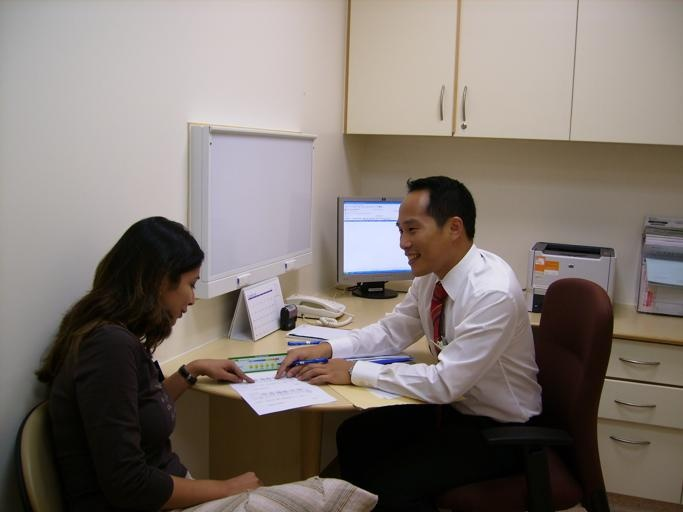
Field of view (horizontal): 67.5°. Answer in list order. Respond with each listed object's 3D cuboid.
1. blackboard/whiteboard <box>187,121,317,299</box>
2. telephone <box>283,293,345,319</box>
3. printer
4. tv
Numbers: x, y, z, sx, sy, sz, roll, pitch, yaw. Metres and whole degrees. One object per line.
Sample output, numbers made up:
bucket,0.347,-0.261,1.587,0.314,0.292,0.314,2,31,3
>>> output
blackboard/whiteboard,-0.392,-0.207,2.176,0.130,0.621,0.829,3,4,21
telephone,-0.109,0.243,2.526,0.170,0.062,0.147,3,5,14
printer,1.279,0.065,2.854,0.524,0.441,0.409,3,8,16
tv,0.178,-0.058,2.832,0.539,0.677,0.247,-1,1,-12
